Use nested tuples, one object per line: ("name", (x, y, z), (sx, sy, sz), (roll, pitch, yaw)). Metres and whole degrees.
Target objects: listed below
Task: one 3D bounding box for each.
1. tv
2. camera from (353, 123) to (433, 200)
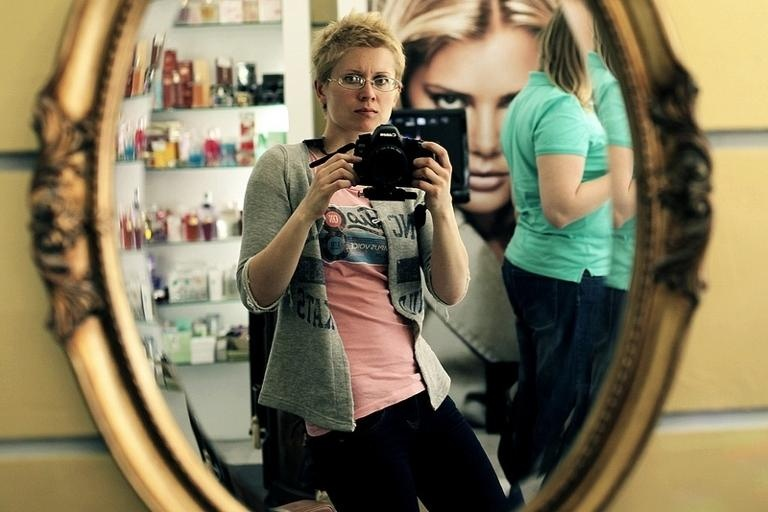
("tv", (0.126, -0.219, 1.902), (0.222, 0.203, 0.058), (2, 0, -14))
("camera", (0.013, -0.167, 1.563), (0.175, 0.105, 0.123), (-11, -1, 22))
